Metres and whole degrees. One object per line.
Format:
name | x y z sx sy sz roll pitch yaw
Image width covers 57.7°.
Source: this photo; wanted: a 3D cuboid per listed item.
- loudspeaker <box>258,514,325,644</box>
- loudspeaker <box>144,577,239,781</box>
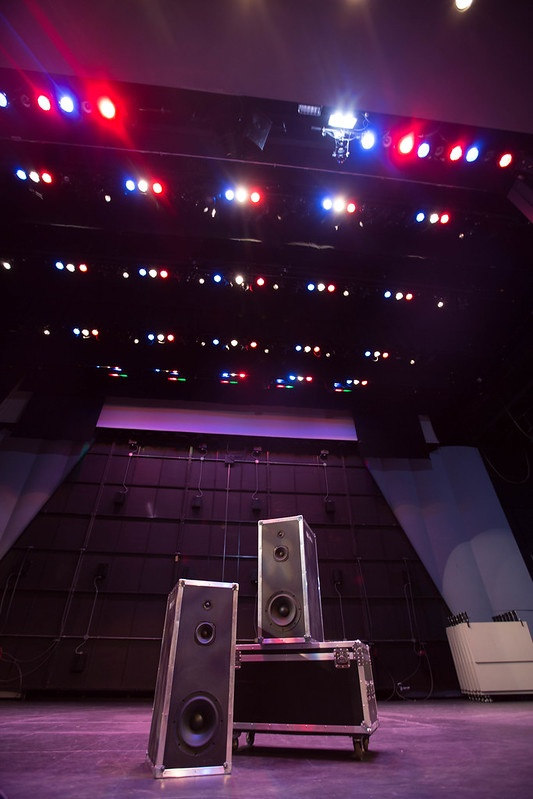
loudspeaker | 0.177 1.416 3.745 0.459 0.856 0.520 -18 -24 39
loudspeaker | -0.362 1.449 2.574 0.382 0.898 0.209 5 -33 -7
